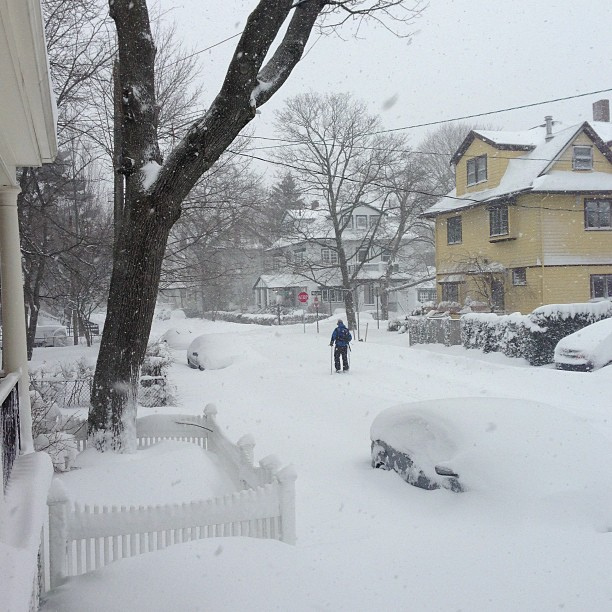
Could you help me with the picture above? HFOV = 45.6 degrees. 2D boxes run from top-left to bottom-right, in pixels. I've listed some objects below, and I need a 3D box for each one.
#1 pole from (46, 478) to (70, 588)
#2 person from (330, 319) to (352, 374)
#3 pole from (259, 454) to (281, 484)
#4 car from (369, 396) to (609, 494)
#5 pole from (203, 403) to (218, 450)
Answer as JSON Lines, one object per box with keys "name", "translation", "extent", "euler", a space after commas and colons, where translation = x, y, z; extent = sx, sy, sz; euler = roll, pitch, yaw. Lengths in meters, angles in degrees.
{"name": "pole", "translation": [-2.064, 1.890, 6.141], "extent": [0.187, 1.075, 0.213], "euler": [5, 18, -2]}
{"name": "person", "translation": [0.906, 0.959, 18.684], "extent": [0.485, 1.570, 0.520], "euler": [11, 17, 27]}
{"name": "pole", "translation": [-0.371, 1.671, 7.603], "extent": [0.253, 0.365, 0.228], "euler": [4, -5, -33]}
{"name": "car", "translation": [2.418, 1.332, 8.668], "extent": [1.981, 0.759, 1.225], "euler": [1, -1, -32]}
{"name": "pole", "translation": [-1.290, 1.611, 9.739], "extent": [0.191, 0.590, 0.253], "euler": [12, -3, -15]}
